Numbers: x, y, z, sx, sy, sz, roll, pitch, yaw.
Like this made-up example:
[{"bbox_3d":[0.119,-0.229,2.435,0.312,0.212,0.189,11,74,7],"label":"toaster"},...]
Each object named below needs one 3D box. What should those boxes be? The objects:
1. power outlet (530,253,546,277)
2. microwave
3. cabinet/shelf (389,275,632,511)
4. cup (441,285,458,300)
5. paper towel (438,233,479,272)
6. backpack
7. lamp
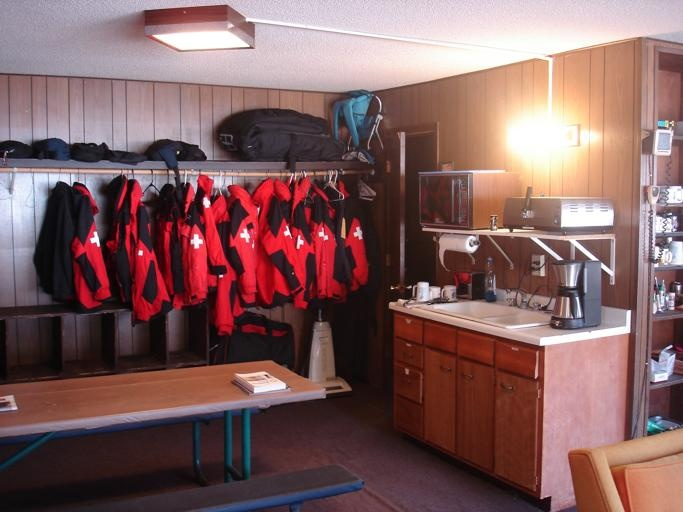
[{"bbox_3d":[1.509,0.078,4.152,0.051,0.175,0.109,-5,8,-32],"label":"power outlet"},{"bbox_3d":[1.040,-0.456,4.423,0.522,0.496,0.707,-1,4,-23],"label":"microwave"},{"bbox_3d":[1.183,0.970,4.291,1.149,1.641,2.145,1,-1,-27],"label":"cabinet/shelf"},{"bbox_3d":[0.909,0.317,4.602,0.138,0.116,0.086,-3,6,-31],"label":"cup"},{"bbox_3d":[0.954,-0.044,4.419,0.131,0.383,0.459,2,5,-31],"label":"paper towel"},{"bbox_3d":[-0.587,-1.051,5.328,0.818,0.322,0.698,-3,9,-33],"label":"backpack"},{"bbox_3d":[-0.852,-1.360,3.261,0.589,0.179,0.375,2,7,16],"label":"lamp"}]
